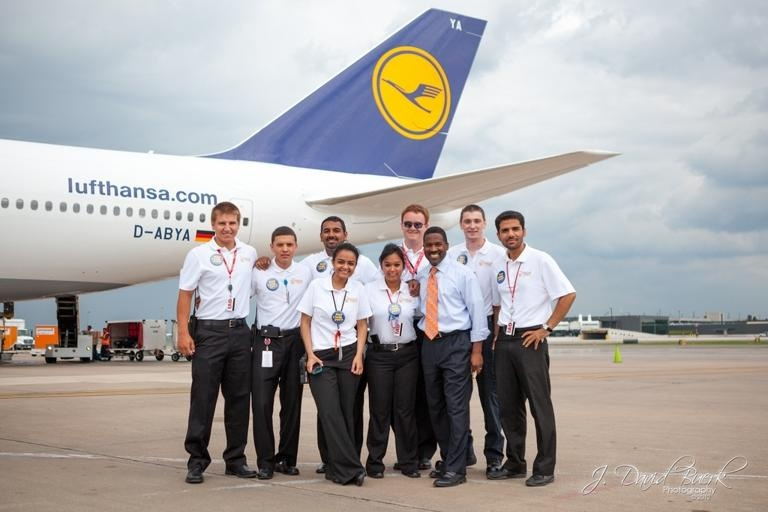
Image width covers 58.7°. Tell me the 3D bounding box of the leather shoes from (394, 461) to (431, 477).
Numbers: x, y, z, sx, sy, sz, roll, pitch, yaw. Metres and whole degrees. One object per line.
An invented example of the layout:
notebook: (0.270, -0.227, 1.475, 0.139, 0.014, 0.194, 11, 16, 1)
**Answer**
leather shoes: (0.443, 2.850, 9.165, 0.552, 0.216, 0.178, -3, -2, -16)

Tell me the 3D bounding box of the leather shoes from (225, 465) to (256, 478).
leather shoes: (-1.835, 2.744, 8.700, 0.461, 0.149, 0.172, -4, -7, 25)

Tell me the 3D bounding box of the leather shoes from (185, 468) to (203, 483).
leather shoes: (-2.302, 2.689, 8.356, 0.218, 0.162, 0.194, 2, -7, -24)

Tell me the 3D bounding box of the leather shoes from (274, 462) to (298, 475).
leather shoes: (-1.260, 2.769, 8.914, 0.347, 0.133, 0.128, -9, -9, 40)

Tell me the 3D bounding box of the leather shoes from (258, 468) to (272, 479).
leather shoes: (-1.483, 2.752, 8.647, 0.222, 0.129, 0.163, 1, -7, -23)

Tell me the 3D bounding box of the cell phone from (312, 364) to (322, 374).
cell phone: (-0.841, 1.445, 8.716, 0.094, 0.051, 0.130, 13, -41, -43)

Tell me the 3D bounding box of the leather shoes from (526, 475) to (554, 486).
leather shoes: (1.902, 2.767, 8.386, 0.342, 0.145, 0.124, 10, -12, -27)

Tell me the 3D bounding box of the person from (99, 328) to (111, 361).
person: (-11.878, 3.752, 29.277, 0.393, 1.351, 2.457, 2, -7, -23)
